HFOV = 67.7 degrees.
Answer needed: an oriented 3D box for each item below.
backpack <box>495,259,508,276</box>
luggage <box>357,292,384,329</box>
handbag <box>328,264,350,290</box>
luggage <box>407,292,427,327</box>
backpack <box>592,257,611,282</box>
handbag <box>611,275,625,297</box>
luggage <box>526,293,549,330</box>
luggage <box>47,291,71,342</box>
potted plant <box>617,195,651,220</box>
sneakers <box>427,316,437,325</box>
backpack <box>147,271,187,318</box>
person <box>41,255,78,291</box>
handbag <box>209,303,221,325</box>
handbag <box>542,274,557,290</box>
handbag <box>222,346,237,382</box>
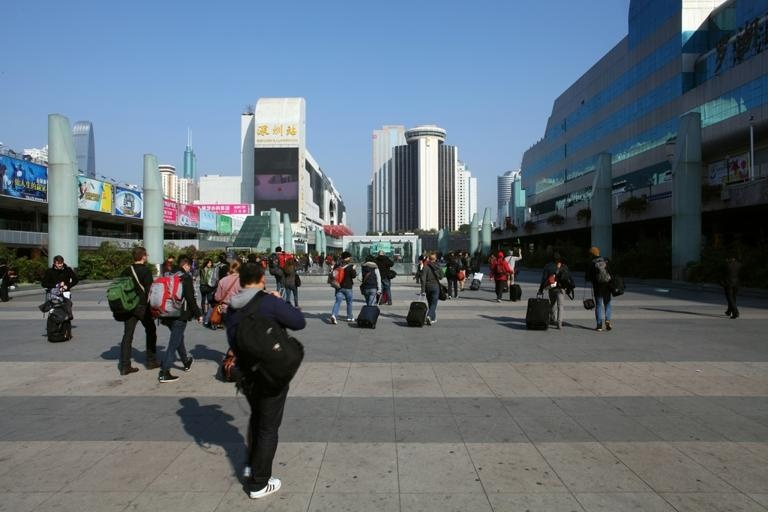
[{"bbox_3d":[4.410,0.410,21.652,0.537,0.529,0.299,3,11,23],"label":"backpack"},{"bbox_3d":[-0.390,1.391,15.915,0.478,0.363,1.339,7,37,8],"label":"luggage"},{"bbox_3d":[-1.277,0.559,16.345,0.715,0.767,0.552,5,-5,-20],"label":"handbag"},{"bbox_3d":[0.991,1.592,17.268,0.784,0.571,1.093,-4,25,16],"label":"luggage"},{"bbox_3d":[5.596,0.357,14.797,0.430,0.721,0.386,-12,-14,16],"label":"backpack"},{"bbox_3d":[6.052,0.764,14.876,0.284,0.592,0.523,6,14,26],"label":"handbag"},{"bbox_3d":[4.051,1.521,15.049,0.607,0.805,0.542,3,13,15],"label":"luggage"},{"bbox_3d":[-7.674,1.428,13.549,0.459,1.199,0.513,-5,13,-18],"label":"luggage"},{"bbox_3d":[18.085,-3.650,41.307,1.708,1.423,1.673,-4,10,39],"label":"potted plant"},{"bbox_3d":[1.326,1.775,16.090,0.184,0.245,0.569,-2,-7,12],"label":"sneakers"},{"bbox_3d":[-4.124,0.708,10.852,0.620,0.883,0.463,1,-6,21],"label":"backpack"},{"bbox_3d":[-8.108,0.571,14.409,0.841,1.128,0.664,-3,11,-32],"label":"person"},{"bbox_3d":[-3.320,1.128,11.369,0.218,0.507,0.445,-4,13,-16],"label":"handbag"},{"bbox_3d":[4.517,0.671,15.540,0.284,0.379,0.136,9,2,17],"label":"handbag"},{"bbox_3d":[-2.085,1.461,7.831,0.284,0.413,0.185,-8,-15,42],"label":"handbag"}]
